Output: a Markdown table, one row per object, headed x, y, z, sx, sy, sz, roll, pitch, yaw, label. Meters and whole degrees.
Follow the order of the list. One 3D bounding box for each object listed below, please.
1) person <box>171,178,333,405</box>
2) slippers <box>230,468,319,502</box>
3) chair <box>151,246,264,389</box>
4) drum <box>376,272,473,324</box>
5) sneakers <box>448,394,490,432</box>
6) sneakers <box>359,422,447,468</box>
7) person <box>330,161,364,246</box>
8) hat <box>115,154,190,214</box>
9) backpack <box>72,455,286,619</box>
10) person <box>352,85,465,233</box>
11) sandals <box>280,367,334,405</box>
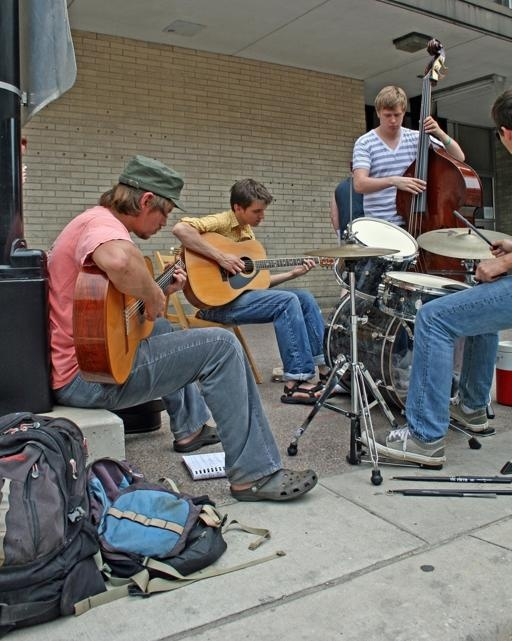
| x | y | z | sx | sy | sz | roll | pitch | yaw | label |
| --- | --- | --- | --- | --- | --- | --- | --- | --- | --- |
| -0.127 | -0.150 | 4.726 | 1.626 | 1.884 | 1.208 | -2 | -2 | 17 | person |
| 0.061 | 0.595 | 2.123 | 0.261 | 0.084 | 0.127 | -9 | 5 | 17 | slippers |
| -0.405 | 0.026 | 4.693 | 0.950 | 1.083 | 0.772 | -13 | -1 | 8 | chair |
| 0.715 | -0.122 | 2.524 | 0.296 | 0.095 | 0.268 | 9 | 19 | -7 | drum |
| 1.080 | 0.477 | 3.048 | 0.116 | 0.113 | 0.313 | 0 | 10 | -20 | sneakers |
| 0.645 | 0.533 | 2.544 | 0.380 | 0.139 | 0.141 | 7 | -7 | 23 | sneakers |
| 0.798 | -1.019 | 5.345 | 0.265 | 0.841 | 0.672 | 1 | 2 | -4 | person |
| -0.376 | -0.520 | 2.238 | 0.270 | 0.124 | 0.179 | 15 | 10 | -33 | hat |
| -0.292 | 0.566 | 1.635 | 0.396 | 0.127 | 0.385 | 15 | 14 | 26 | backpack |
| 0.945 | -0.969 | 3.992 | 0.742 | 1.000 | 0.363 | 2 | 10 | 12 | person |
| 0.352 | 0.446 | 3.774 | 0.368 | 0.209 | 0.159 | -2 | 5 | 7 | sandals |
